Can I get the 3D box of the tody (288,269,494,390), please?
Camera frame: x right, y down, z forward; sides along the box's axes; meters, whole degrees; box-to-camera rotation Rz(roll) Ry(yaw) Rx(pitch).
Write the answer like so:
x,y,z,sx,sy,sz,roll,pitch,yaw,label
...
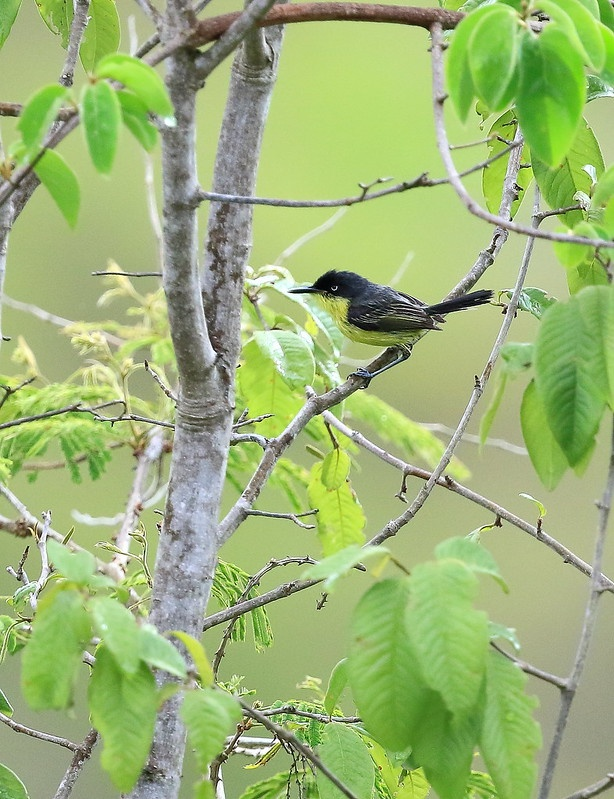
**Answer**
x,y,z,sx,sy,sz,roll,pitch,yaw,label
0.474,-0.442,5.935,1.075,0.306,0.544,-6,-81,-11,tody
